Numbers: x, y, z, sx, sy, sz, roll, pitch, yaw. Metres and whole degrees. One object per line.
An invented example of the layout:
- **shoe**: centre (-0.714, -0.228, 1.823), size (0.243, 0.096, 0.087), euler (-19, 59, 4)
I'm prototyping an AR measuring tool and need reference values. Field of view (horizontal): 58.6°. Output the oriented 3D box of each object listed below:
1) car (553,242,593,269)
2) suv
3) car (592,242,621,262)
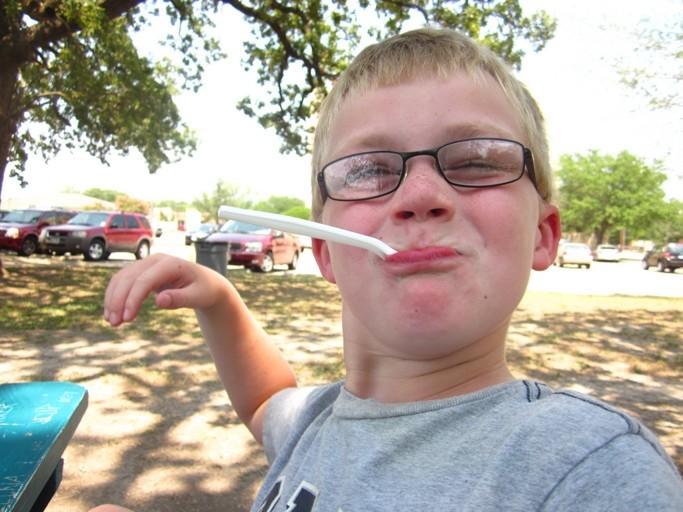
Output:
- **car**: centre (9.046, 0.028, 23.755), size (0.916, 0.732, 2.105), euler (1, 6, 12)
- **suv**: centre (-6.881, -0.558, 16.750), size (1.272, 1.105, 2.468), euler (-3, -7, 27)
- **car**: centre (16.077, -0.139, 37.030), size (1.112, 0.880, 1.939), euler (2, 7, 15)
